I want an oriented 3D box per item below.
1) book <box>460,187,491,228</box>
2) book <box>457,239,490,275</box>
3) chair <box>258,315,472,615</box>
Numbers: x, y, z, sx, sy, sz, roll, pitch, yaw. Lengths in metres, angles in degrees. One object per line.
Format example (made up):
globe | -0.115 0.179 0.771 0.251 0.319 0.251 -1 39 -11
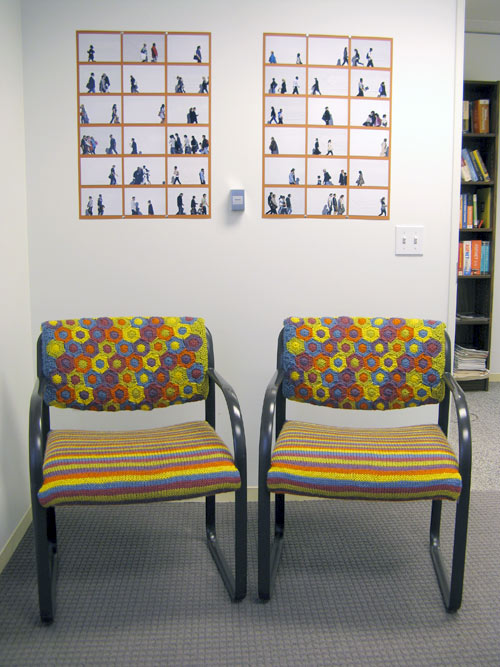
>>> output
book | 1.563 -0.880 3.891 0.214 0.306 0.218 0 7 -4
book | 1.559 -0.530 3.886 0.245 0.258 0.126 -3 7 -25
chair | 0.337 0.329 1.670 0.569 0.729 0.702 1 7 7
